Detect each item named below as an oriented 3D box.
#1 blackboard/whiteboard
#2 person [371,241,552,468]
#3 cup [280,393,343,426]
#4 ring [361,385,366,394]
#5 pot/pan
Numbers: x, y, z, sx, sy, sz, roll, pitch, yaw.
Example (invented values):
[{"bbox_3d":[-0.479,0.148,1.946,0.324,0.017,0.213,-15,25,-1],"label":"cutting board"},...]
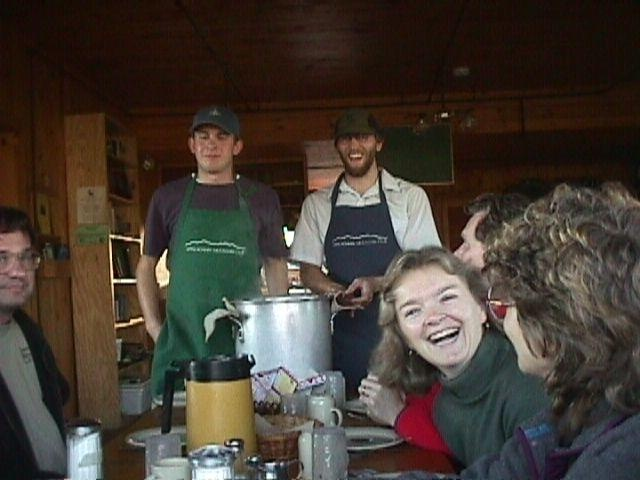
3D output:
[{"bbox_3d":[1.017,-0.913,7.313,0.836,0.739,0.124,2,-9,-1],"label":"blackboard/whiteboard"},{"bbox_3d":[0.602,0.510,2.963,0.611,0.900,0.405,-22,-9,31],"label":"person"},{"bbox_3d":[-0.023,0.663,2.791,0.190,0.157,0.129,6,0,16],"label":"cup"},{"bbox_3d":[0.183,0.627,2.909,0.021,0.033,0.029,7,-13,-44],"label":"ring"},{"bbox_3d":[-0.141,0.408,3.018,0.347,0.419,0.353,0,-5,-10],"label":"pot/pan"}]
